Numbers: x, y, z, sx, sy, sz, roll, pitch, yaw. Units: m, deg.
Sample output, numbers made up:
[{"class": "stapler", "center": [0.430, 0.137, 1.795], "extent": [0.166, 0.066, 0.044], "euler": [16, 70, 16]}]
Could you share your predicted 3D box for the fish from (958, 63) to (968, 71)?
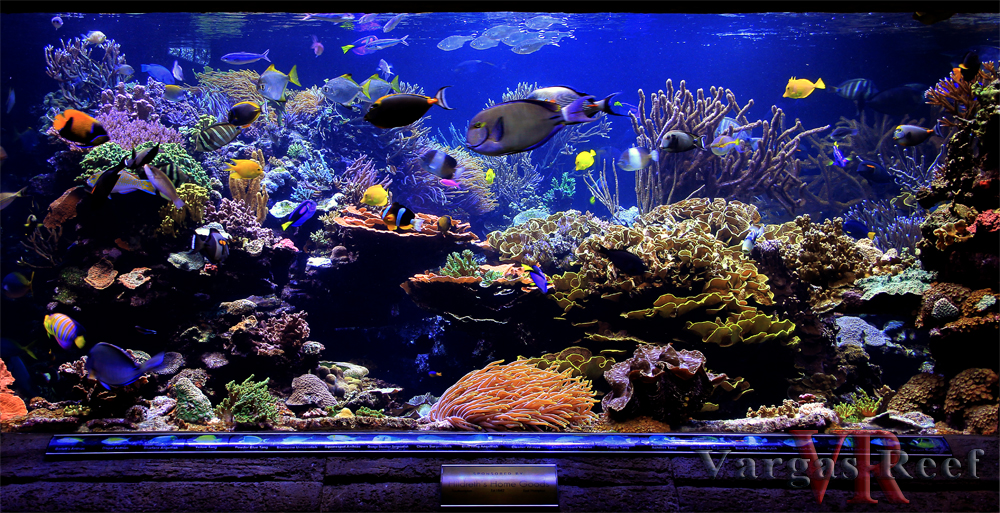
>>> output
[{"class": "fish", "center": [6.547, -2.684, 10.752], "extent": [0.119, 0.054, 0.105], "euler": [-6, 10, -22]}]
